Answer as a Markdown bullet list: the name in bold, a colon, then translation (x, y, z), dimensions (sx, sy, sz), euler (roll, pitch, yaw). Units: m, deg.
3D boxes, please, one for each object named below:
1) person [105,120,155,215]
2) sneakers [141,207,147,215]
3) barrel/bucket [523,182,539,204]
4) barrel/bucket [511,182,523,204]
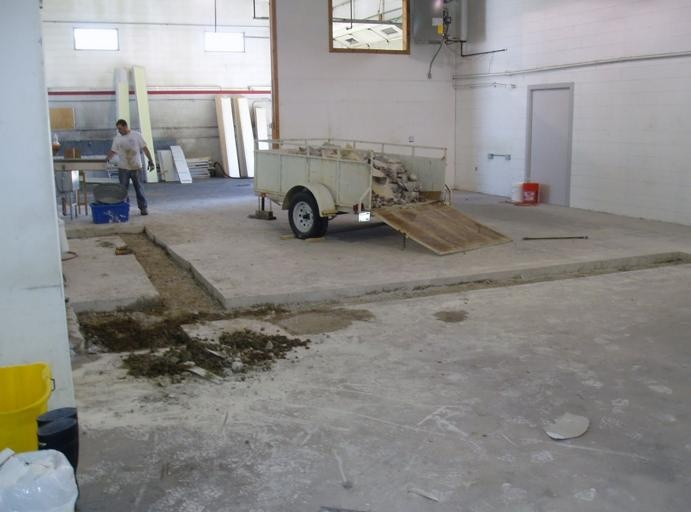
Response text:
- **person**: translation (-4.647, -1.910, 10.840), dimensions (0.873, 2.059, 1.375), euler (-8, 13, -23)
- **sneakers**: translation (-4.408, -0.979, 10.937), dimensions (0.132, 0.127, 0.134), euler (-1, -11, 7)
- **barrel/bucket**: translation (4.593, -1.559, 12.404), dimensions (0.325, 0.302, 0.544), euler (-4, 0, 7)
- **barrel/bucket**: translation (4.302, -1.572, 12.519), dimensions (0.288, 0.503, 0.365), euler (2, 12, 19)
